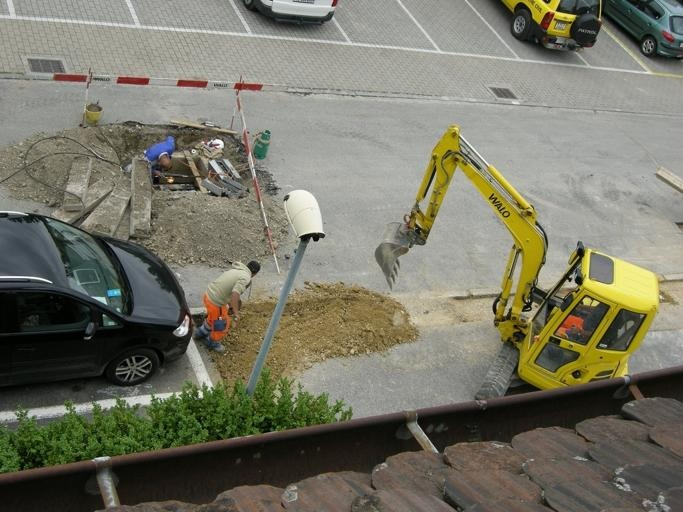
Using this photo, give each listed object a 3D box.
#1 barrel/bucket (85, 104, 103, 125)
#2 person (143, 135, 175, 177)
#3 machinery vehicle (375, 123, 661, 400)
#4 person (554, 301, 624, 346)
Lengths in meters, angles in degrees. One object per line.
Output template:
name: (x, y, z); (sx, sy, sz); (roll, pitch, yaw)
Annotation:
barrel/bucket: (-5.089, -2.896, 12.486); (0.422, 0.307, 0.394); (7, 53, -9)
person: (-3.707, -2.064, 12.108); (0.286, 0.564, 0.744); (-30, 61, -15)
machinery vehicle: (2.788, 0.261, 9.665); (4.486, 3.552, 2.153); (17, 25, 19)
person: (3.537, 0.937, 8.811); (0.641, 0.821, 0.198); (16, 35, -3)
